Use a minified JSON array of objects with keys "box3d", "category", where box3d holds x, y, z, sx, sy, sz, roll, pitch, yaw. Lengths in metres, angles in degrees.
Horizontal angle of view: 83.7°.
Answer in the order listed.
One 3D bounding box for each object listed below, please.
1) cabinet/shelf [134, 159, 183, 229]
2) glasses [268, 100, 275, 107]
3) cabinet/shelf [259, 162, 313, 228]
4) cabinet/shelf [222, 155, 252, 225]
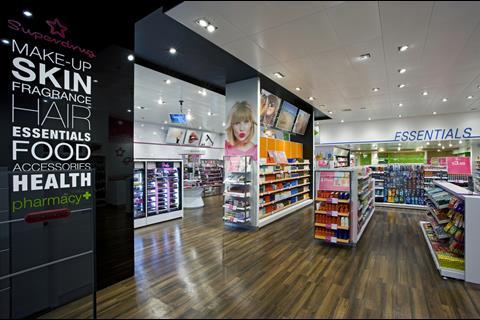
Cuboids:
[{"box3d":[-2.589,1.092,8.253,0.623,1.832,1.952,1,3,32],"category":"cabinet/shelf"},{"box3d":[0.985,-1.738,8.331,0.129,0.182,0.043,-1,10,-30],"category":"glasses"},{"box3d":[1.520,1.000,9.413,0.625,1.867,3.690,-9,-3,37],"category":"cabinet/shelf"},{"box3d":[-0.105,0.936,7.734,0.911,2.101,0.691,2,10,15],"category":"cabinet/shelf"}]
